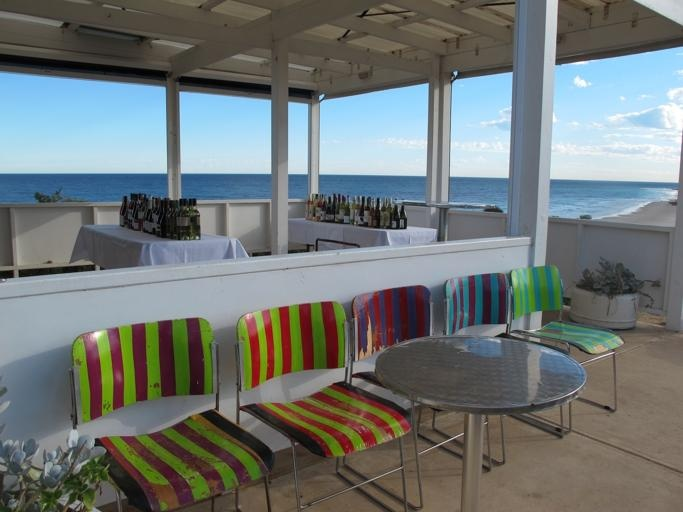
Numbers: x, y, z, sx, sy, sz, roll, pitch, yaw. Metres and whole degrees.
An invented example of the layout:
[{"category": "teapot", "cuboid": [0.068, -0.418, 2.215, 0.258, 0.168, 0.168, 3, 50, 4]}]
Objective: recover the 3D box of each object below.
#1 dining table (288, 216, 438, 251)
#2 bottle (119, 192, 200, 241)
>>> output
[{"category": "dining table", "cuboid": [0.064, -0.213, 5.107, 1.485, 0.308, 0.542, 12, 17, 38]}, {"category": "bottle", "cuboid": [-1.601, -0.367, 4.465, 0.333, 0.464, 1.278, -3, 11, -36]}]
